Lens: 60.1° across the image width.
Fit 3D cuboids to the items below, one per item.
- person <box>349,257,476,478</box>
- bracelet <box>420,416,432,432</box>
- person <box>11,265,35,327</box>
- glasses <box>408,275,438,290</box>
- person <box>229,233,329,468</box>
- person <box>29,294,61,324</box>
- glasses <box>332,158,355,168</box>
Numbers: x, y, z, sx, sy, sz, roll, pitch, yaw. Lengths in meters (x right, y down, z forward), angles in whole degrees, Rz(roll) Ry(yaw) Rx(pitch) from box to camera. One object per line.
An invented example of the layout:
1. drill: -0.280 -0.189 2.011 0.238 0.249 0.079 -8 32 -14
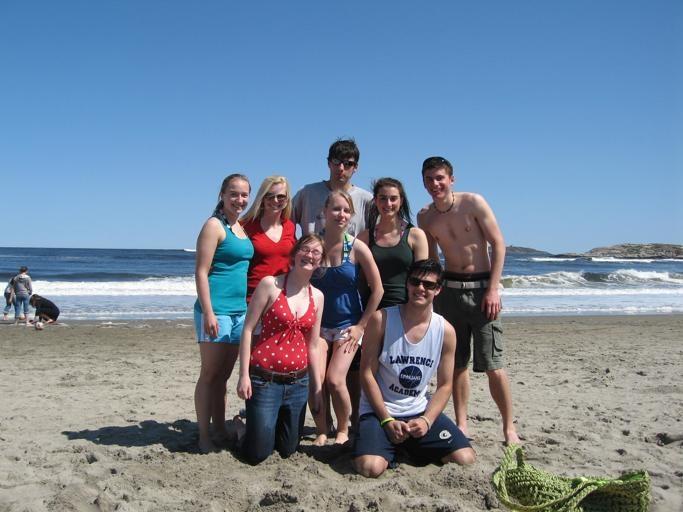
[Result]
1. person: 0.648 1.243 5.711 1.098 1.623 0.520 -1 3 0
2. bracelet: 0.796 1.586 5.630 0.133 0.147 0.067 9 0 -37
3. person: -8.875 1.065 16.494 0.484 1.485 2.166 -3 3 -29
4. glasses: 0.778 0.258 5.686 0.286 0.126 0.115 -1 3 5
5. person: -0.588 0.905 5.751 0.848 2.193 0.364 -2 3 -11
6. person: -7.720 1.383 15.695 0.892 0.856 0.635 4 4 22
7. glasses: 0.016 -1.018 6.501 0.245 0.104 0.074 -1 3 -13
